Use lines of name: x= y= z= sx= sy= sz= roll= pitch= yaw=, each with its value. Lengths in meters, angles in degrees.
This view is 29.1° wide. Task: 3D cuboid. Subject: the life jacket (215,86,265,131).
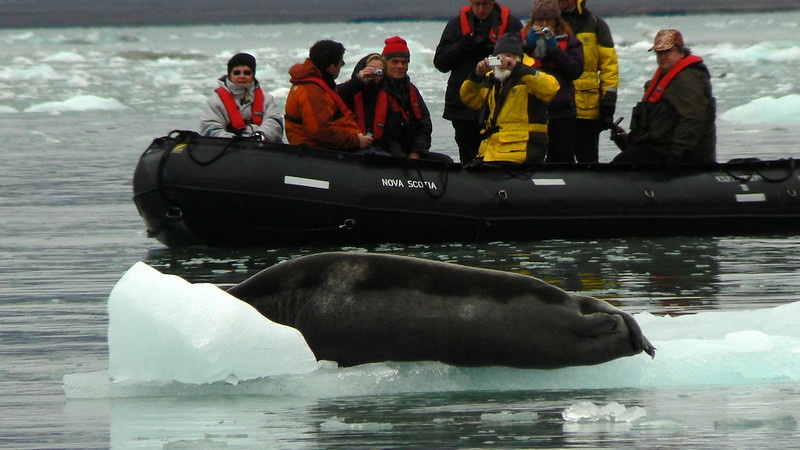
life jacket: x=-2.891 y=-2.105 z=27.762 sx=1.057 sy=0.743 sz=0.307 roll=-14 pitch=7 yaw=-18

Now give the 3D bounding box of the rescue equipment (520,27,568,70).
rescue equipment: x=2.528 y=-3.222 z=27.618 sx=0.964 sy=0.629 sz=0.233 roll=4 pitch=11 yaw=5

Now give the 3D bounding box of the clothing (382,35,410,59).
clothing: x=-0.045 y=-3.195 z=27.622 sx=0.581 sy=0.294 sz=0.475 roll=2 pitch=-2 yaw=-11
